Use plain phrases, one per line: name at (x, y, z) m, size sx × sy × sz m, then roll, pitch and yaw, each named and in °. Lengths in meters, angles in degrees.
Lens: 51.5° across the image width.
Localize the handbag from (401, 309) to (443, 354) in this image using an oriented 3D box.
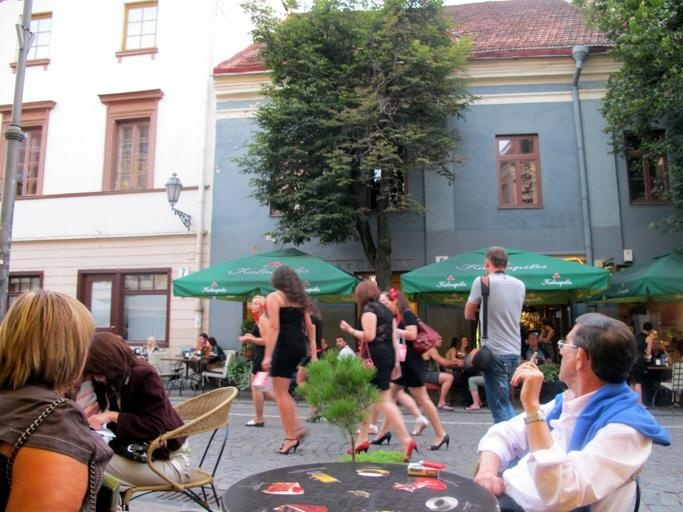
handbag at (1.036, 1.031, 9.615) m, size 0.422 × 0.615 × 0.562 m, roll -5°, pitch -5°, yaw 16°

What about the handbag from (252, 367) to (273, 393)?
handbag at (-1.000, 1.574, 8.878) m, size 0.271 × 0.198 × 0.277 m, roll 4°, pitch -32°, yaw -16°

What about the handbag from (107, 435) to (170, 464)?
handbag at (-1.750, 1.608, 6.013) m, size 0.397 × 0.130 × 0.307 m, roll -1°, pitch -9°, yaw 21°

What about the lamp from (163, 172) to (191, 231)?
lamp at (-4.150, -1.398, 18.027) m, size 0.560 × 1.510 × 1.126 m, roll -3°, pitch -5°, yaw -12°

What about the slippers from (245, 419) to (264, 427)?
slippers at (-1.367, 2.652, 11.165) m, size 0.342 × 0.104 × 0.299 m, roll -2°, pitch -4°, yaw -18°

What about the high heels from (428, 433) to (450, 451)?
high heels at (1.307, 2.463, 9.373) m, size 0.241 × 0.219 × 0.456 m, roll -5°, pitch -5°, yaw 16°

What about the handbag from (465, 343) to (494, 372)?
handbag at (1.552, 1.210, 8.257) m, size 0.354 × 0.250 × 0.260 m, roll -7°, pitch -11°, yaw 33°
